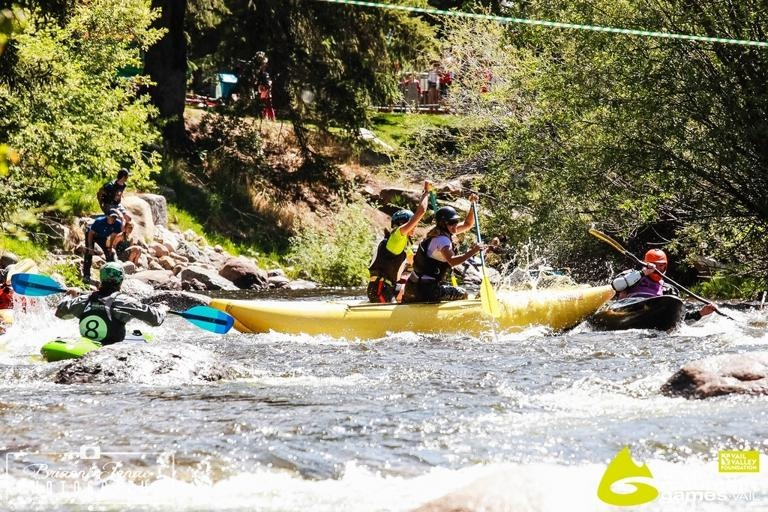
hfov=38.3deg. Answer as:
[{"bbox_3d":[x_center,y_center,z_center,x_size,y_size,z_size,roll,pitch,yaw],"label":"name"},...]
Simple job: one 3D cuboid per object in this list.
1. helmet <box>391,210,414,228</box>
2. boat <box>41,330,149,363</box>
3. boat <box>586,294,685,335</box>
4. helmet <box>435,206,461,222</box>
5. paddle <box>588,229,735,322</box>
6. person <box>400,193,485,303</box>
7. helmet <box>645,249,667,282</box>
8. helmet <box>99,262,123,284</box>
[{"bbox_3d":[0.245,-0.568,16.857,0.353,0.285,0.250,18,15,10],"label":"helmet"},{"bbox_3d":[-3.803,1.165,14.118,0.992,0.290,0.597,1,5,-4],"label":"boat"},{"bbox_3d":[3.796,0.867,16.449,0.989,0.289,0.593,-9,-11,28],"label":"boat"},{"bbox_3d":[0.940,-0.608,16.471,0.291,0.218,0.212,17,3,14],"label":"helmet"},{"bbox_3d":[4.872,0.331,19.008,2.570,0.448,0.305,28,65,14],"label":"paddle"},{"bbox_3d":[1.041,-0.092,18.743,1.403,2.095,1.070,-10,46,-13],"label":"person"},{"bbox_3d":[4.095,0.127,16.675,0.376,0.506,0.467,3,-5,-17],"label":"helmet"},{"bbox_3d":[-3.483,0.221,14.113,0.229,0.242,0.297,3,10,-8],"label":"helmet"}]
